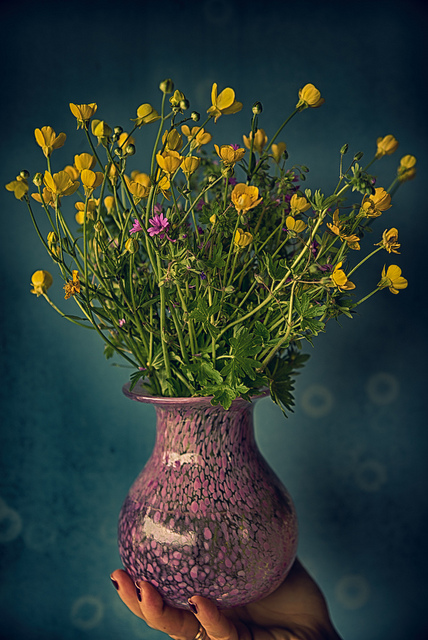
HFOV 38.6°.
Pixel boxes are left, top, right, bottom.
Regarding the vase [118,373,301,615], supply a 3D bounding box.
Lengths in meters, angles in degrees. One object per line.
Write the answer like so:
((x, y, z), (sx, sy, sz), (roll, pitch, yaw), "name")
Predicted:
((-0.006, 0.237, 0.856), (0.244, 0.309, 0.246), (-5, 3, -16), "vase")

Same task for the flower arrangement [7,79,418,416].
((0.011, -0.088, 0.935), (0.508, 0.543, 0.525), (10, 16, 7), "flower arrangement")
